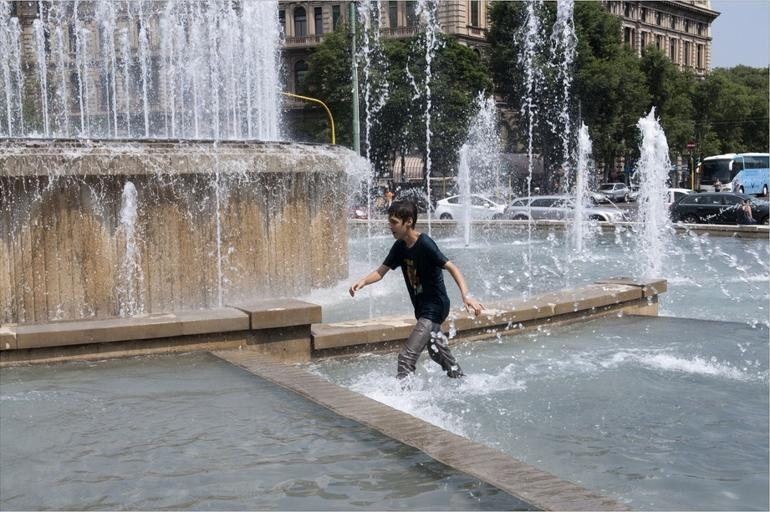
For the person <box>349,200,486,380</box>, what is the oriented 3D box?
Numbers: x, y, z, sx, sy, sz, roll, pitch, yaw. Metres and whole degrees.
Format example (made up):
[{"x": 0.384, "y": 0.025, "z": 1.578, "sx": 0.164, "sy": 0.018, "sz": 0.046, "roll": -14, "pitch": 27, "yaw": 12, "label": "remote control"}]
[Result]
[{"x": 0.395, "y": 0.407, "z": 10.199, "sx": 1.202, "sy": 2.063, "sz": 0.958, "roll": -1, "pitch": 6, "yaw": -18, "label": "person"}]
